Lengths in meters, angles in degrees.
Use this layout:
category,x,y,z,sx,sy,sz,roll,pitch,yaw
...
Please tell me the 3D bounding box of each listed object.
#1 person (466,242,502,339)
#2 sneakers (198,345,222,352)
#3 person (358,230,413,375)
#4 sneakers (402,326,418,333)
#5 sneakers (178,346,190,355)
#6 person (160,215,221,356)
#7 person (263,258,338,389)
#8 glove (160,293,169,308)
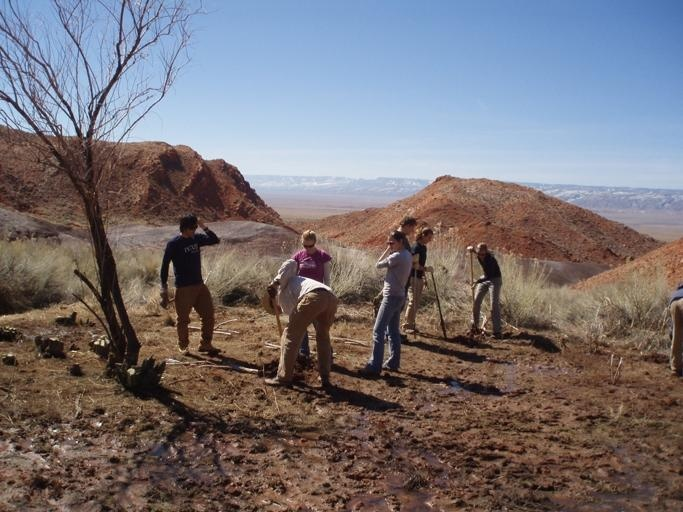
category,x,y,z,sx,sy,sz,roll,pitch,yaw
person,2.760,0.599,9.000,0.773,1.874,1.127,7,14,16
sneakers,-2.038,1.419,7.235,0.344,0.152,0.121,1,3,-12
person,0.693,0.732,7.000,0.536,2.233,0.986,5,14,9
sneakers,1.321,1.439,9.166,0.197,0.065,0.149,2,0,-19
sneakers,-2.382,1.417,7.066,0.127,0.099,0.133,2,-5,-15
person,-2.247,0.438,6.935,0.714,2.132,0.893,6,14,13
person,-0.549,0.912,6.148,0.956,1.670,0.549,11,16,29
glove,-2.533,0.633,6.695,0.088,0.297,0.287,-4,15,-26
